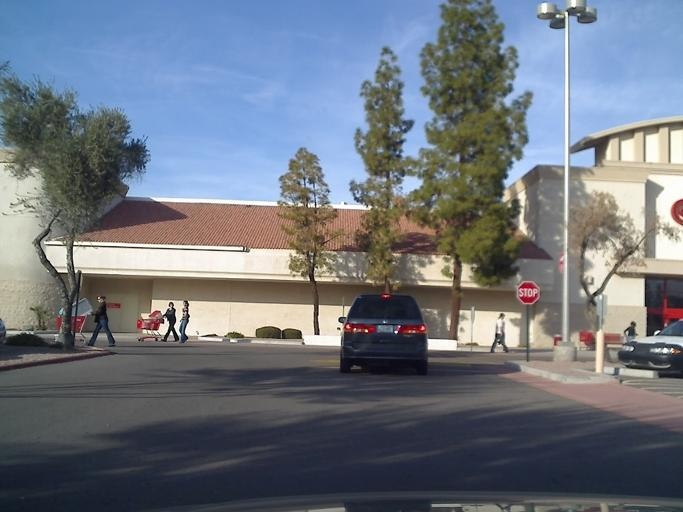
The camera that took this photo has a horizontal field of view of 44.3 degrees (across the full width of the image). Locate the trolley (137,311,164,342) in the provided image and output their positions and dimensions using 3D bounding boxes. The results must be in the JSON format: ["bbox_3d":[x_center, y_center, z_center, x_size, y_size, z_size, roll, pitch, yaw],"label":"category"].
[{"bbox_3d":[-9.337,3.478,41.091,1.085,1.702,1.262,4,-9,-30],"label":"trolley"}]

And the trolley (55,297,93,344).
[{"bbox_3d":[-11.900,2.784,37.174,1.533,2.104,1.307,1,3,-27],"label":"trolley"}]
